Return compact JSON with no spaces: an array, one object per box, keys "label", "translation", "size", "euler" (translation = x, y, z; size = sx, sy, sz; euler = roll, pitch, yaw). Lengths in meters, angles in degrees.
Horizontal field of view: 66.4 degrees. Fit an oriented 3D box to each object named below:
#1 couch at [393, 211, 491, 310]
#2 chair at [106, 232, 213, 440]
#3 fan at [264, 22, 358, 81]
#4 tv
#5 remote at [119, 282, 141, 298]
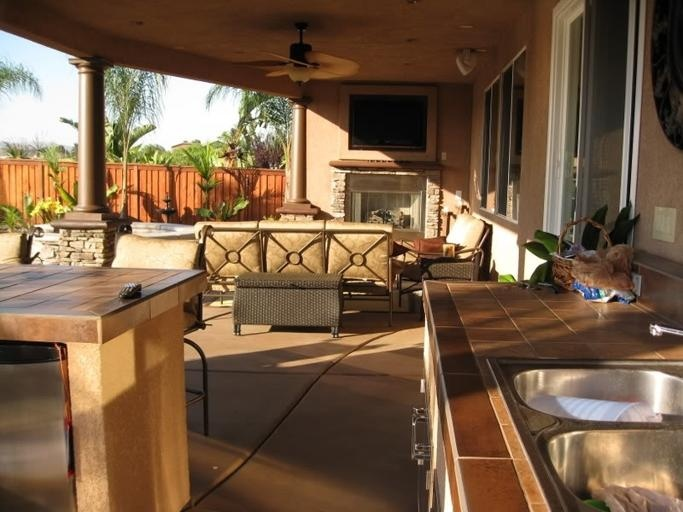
[{"label":"couch","translation":[1.273,-0.008,6.362],"size":[1.366,1.162,1.075],"euler":[-3,6,2]},{"label":"chair","translation":[-1.220,0.541,3.452],"size":[0.830,1.225,0.856],"euler":[7,-17,-38]},{"label":"fan","translation":[-0.335,-2.226,6.086],"size":[0.843,0.503,0.950],"euler":[2,9,1]},{"label":"tv","translation":[0.868,-2.457,9.686],"size":[1.388,0.982,0.245],"euler":[-1,11,-6]},{"label":"remote","translation":[-0.792,0.125,1.950],"size":[0.052,0.026,0.065],"euler":[-4,7,-32]}]
